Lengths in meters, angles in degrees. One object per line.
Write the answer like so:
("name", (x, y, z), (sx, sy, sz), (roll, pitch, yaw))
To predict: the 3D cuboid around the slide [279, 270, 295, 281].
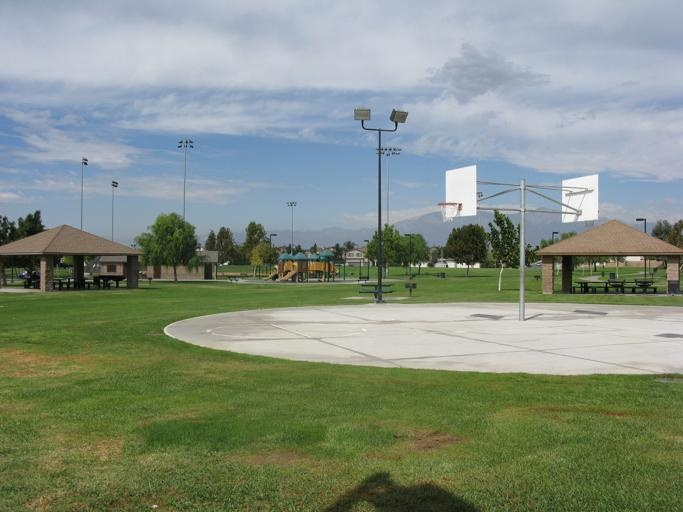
("slide", (-6.478, 2.449, 80.385), (1.763, 1.199, 0.973), (20, 20, 38))
